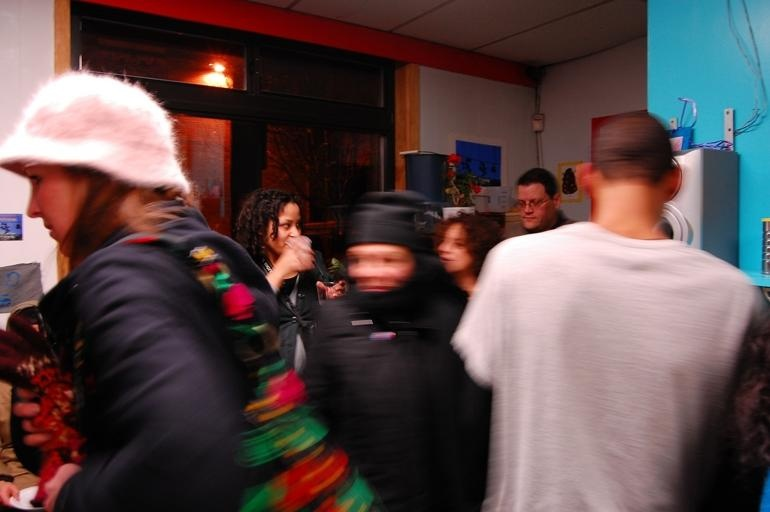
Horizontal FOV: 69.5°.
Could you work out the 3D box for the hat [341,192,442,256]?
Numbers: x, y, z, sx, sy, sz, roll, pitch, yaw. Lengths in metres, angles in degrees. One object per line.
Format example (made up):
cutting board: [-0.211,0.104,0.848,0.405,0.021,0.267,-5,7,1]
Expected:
hat: [0.033,-0.122,2.067,0.273,0.226,0.368,-3,-11,26]

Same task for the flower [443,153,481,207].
flower: [0.522,-0.621,4.154,0.211,0.252,0.207,5,-1,-13]
